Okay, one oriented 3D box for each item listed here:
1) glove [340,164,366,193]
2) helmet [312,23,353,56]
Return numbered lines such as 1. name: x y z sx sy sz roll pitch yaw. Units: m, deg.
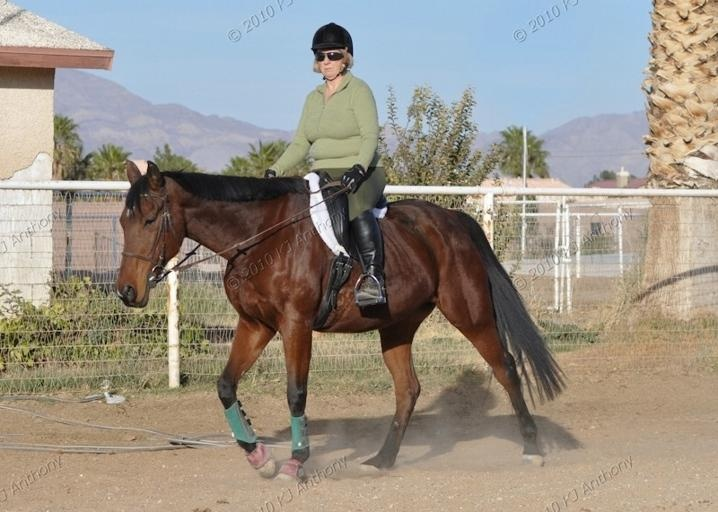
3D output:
1. glove: -0.050 -0.965 14.436 0.210 0.370 0.142 37 -18 21
2. helmet: -0.360 -2.747 14.783 0.495 0.418 0.653 1 11 20
